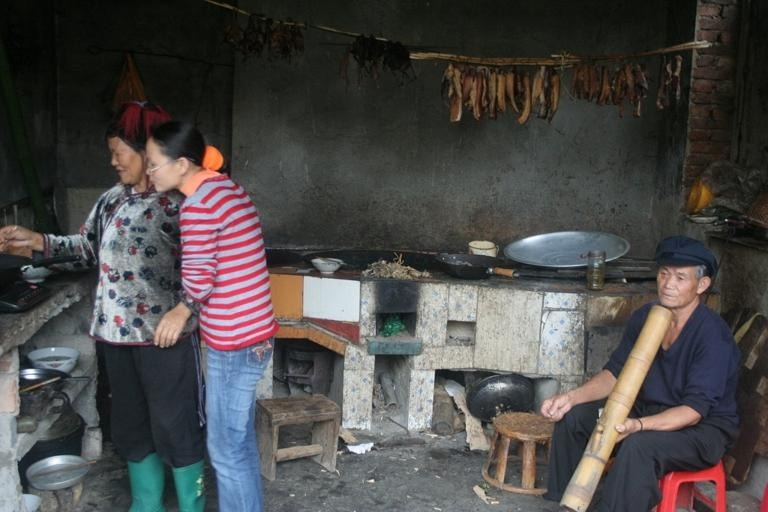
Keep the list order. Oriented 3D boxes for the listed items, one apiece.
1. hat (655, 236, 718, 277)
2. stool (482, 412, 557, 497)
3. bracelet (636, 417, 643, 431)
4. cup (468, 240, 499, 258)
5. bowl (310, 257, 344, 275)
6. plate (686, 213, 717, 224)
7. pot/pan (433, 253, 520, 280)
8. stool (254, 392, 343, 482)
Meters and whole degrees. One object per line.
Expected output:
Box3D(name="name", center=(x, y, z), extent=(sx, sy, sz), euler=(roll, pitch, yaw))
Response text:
Box3D(name="hat", center=(2.058, -0.016, 4.611), extent=(0.312, 0.126, 0.338), euler=(15, -1, -11))
Box3D(name="stool", center=(1.008, 1.521, 5.304), extent=(0.627, 0.387, 0.579), euler=(1, 5, -9))
Box3D(name="bracelet", center=(1.706, 1.115, 4.499), extent=(0.052, 0.075, 0.040), euler=(-3, 8, -40))
Box3D(name="cup", center=(0.969, -0.083, 6.646), extent=(0.209, 0.131, 0.208), euler=(2, 3, 0))
Box3D(name="bowl", center=(-0.518, 0.086, 6.124), extent=(0.271, 0.134, 0.259), euler=(2, 5, 0))
Box3D(name="plate", center=(2.994, -0.355, 6.401), extent=(0.117, 0.105, 0.303), euler=(-1, 5, -24))
Box3D(name="pot/pan", center=(0.753, 0.079, 6.105), extent=(0.505, 0.079, 0.316), euler=(14, 12, 37))
Box3D(name="stool", center=(-0.705, 1.422, 5.360), extent=(0.589, 0.471, 0.388), euler=(4, 3, -34))
